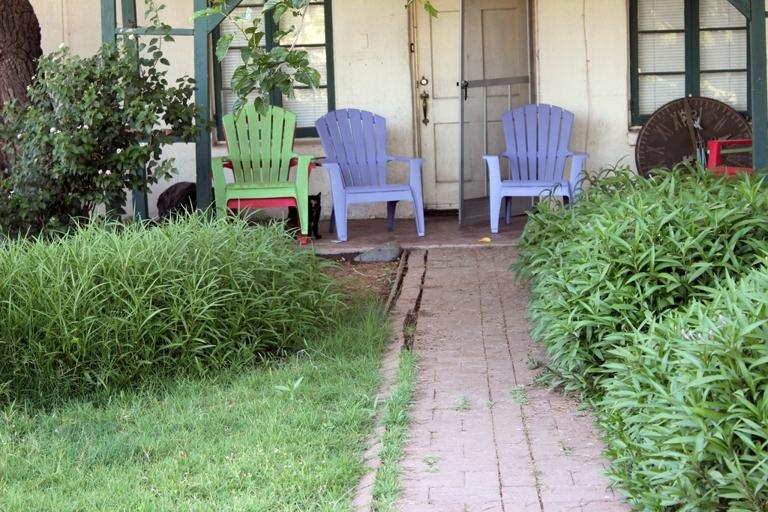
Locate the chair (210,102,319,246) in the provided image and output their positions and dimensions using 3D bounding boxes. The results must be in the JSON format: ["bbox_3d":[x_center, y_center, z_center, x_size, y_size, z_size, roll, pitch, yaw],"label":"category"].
[{"bbox_3d":[-1.110,-0.788,6.499,0.880,1.299,0.916,-4,8,-5],"label":"chair"}]

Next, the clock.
[{"bbox_3d":[2.978,-1.100,6.587,1.212,1.273,0.083,0,0,7],"label":"clock"}]

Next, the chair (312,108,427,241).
[{"bbox_3d":[-0.079,-0.864,7.107,1.082,1.205,1.313,-5,17,-13],"label":"chair"}]

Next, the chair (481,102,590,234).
[{"bbox_3d":[1.498,-0.935,6.935,0.890,1.180,1.330,-1,8,14],"label":"chair"}]
